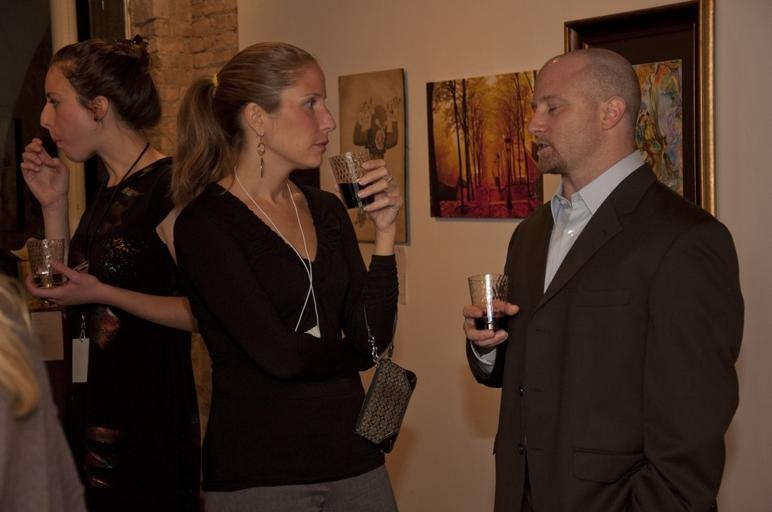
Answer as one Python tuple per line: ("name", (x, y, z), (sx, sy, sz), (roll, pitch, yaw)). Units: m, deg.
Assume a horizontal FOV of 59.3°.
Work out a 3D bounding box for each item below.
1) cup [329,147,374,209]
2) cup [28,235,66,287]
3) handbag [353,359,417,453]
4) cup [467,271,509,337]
("cup", (-0.114, -0.272, 2.561), (0.188, 0.223, 0.189), (-15, 0, 0))
("cup", (-1.385, 0.033, 2.789), (0.138, 0.207, 0.133), (-1, 4, 0))
("handbag", (-0.031, 0.546, 2.546), (0.239, 0.325, 0.093), (25, -14, -33))
("cup", (0.383, 0.179, 2.569), (0.203, 0.278, 0.177), (-1, 3, 9))
